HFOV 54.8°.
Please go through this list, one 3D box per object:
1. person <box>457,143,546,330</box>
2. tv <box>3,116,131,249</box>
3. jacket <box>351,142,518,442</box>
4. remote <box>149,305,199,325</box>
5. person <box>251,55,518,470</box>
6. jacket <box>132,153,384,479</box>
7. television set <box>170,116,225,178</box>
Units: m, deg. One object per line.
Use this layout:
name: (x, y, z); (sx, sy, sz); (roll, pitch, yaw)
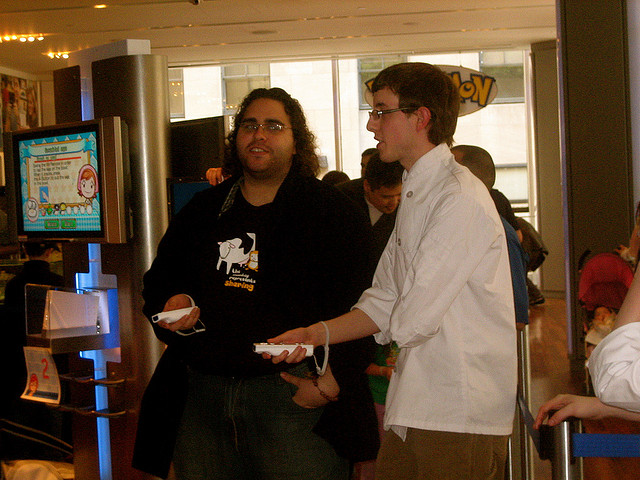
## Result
person: (1.258, -0.004, 4.132); (0.701, 1.457, 0.474); (2, 39, 21)
tv: (-1.227, -0.274, 3.025); (0.725, 0.515, 0.077); (1, 4, 26)
jacket: (0.391, 0.161, 2.117); (0.536, 0.974, 0.368); (-2, 8, 7)
remote: (-0.547, 0.281, 2.275); (0.173, 0.061, 0.096); (-3, 8, -1)
person: (0.302, 0.099, 2.129); (0.713, 1.436, 0.490); (-1, 9, 16)
jacket: (-0.268, 0.319, 2.421); (0.970, 1.193, 0.355); (-2, 8, 4)
television set: (-0.673, -0.475, 3.328); (0.343, 0.325, 0.032); (0, 3, 22)
